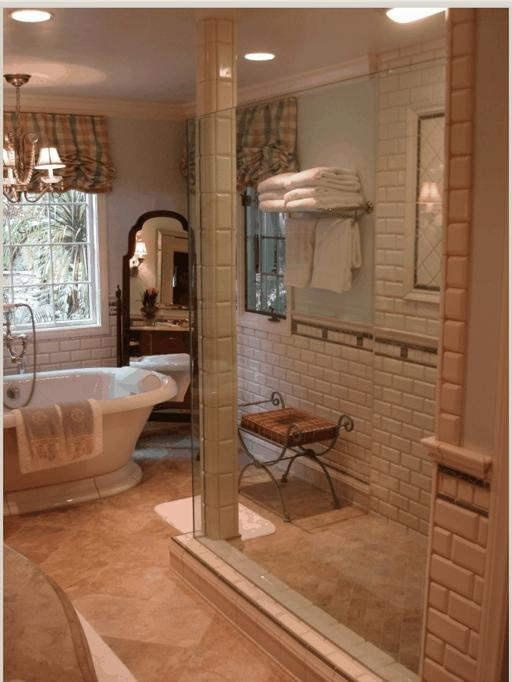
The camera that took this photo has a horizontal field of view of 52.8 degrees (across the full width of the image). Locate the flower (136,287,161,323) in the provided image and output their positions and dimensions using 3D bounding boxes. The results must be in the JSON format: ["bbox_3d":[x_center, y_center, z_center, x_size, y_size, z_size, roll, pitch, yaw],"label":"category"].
[{"bbox_3d":[-0.924,-0.313,4.451,0.216,0.404,0.232,1,-1,-1],"label":"flower"}]

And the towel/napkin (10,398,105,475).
[{"bbox_3d":[-1.097,0.544,2.853,0.385,0.312,0.140,-7,8,-38],"label":"towel/napkin"}]
